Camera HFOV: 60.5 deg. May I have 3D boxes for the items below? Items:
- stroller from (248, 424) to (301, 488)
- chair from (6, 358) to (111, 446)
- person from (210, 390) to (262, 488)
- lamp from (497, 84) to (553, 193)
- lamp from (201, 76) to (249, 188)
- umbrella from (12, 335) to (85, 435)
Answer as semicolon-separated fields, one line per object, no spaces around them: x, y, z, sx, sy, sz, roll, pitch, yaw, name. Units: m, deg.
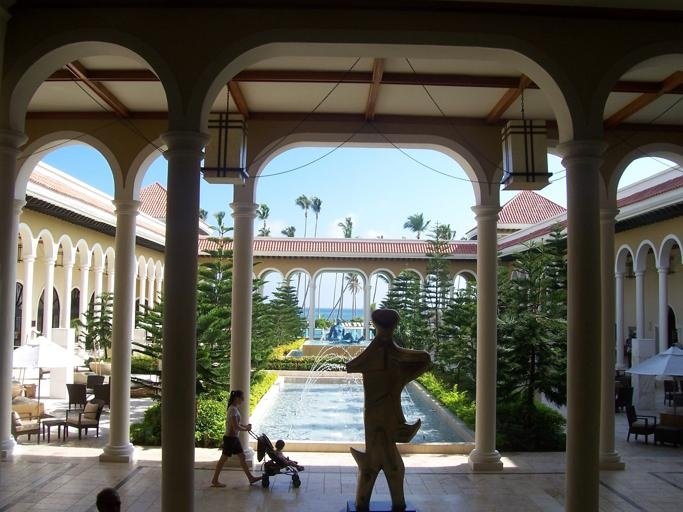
-1.060;3.331;9.646;0.883;0.900;0.601;1;-6;-2;stroller
-5.742;3.175;12.060;1.708;1.168;1.014;6;-8;-33;chair
-1.735;2.953;9.638;0.756;1.471;0.917;1;-10;-10;person
2.946;-1.608;9.368;0.706;1.191;0.354;-3;-9;11;lamp
-1.853;-1.917;9.516;0.754;1.403;0.850;2;-2;-20;lamp
-6.996;2.973;13.535;1.070;2.069;5.162;4;-11;-28;umbrella
